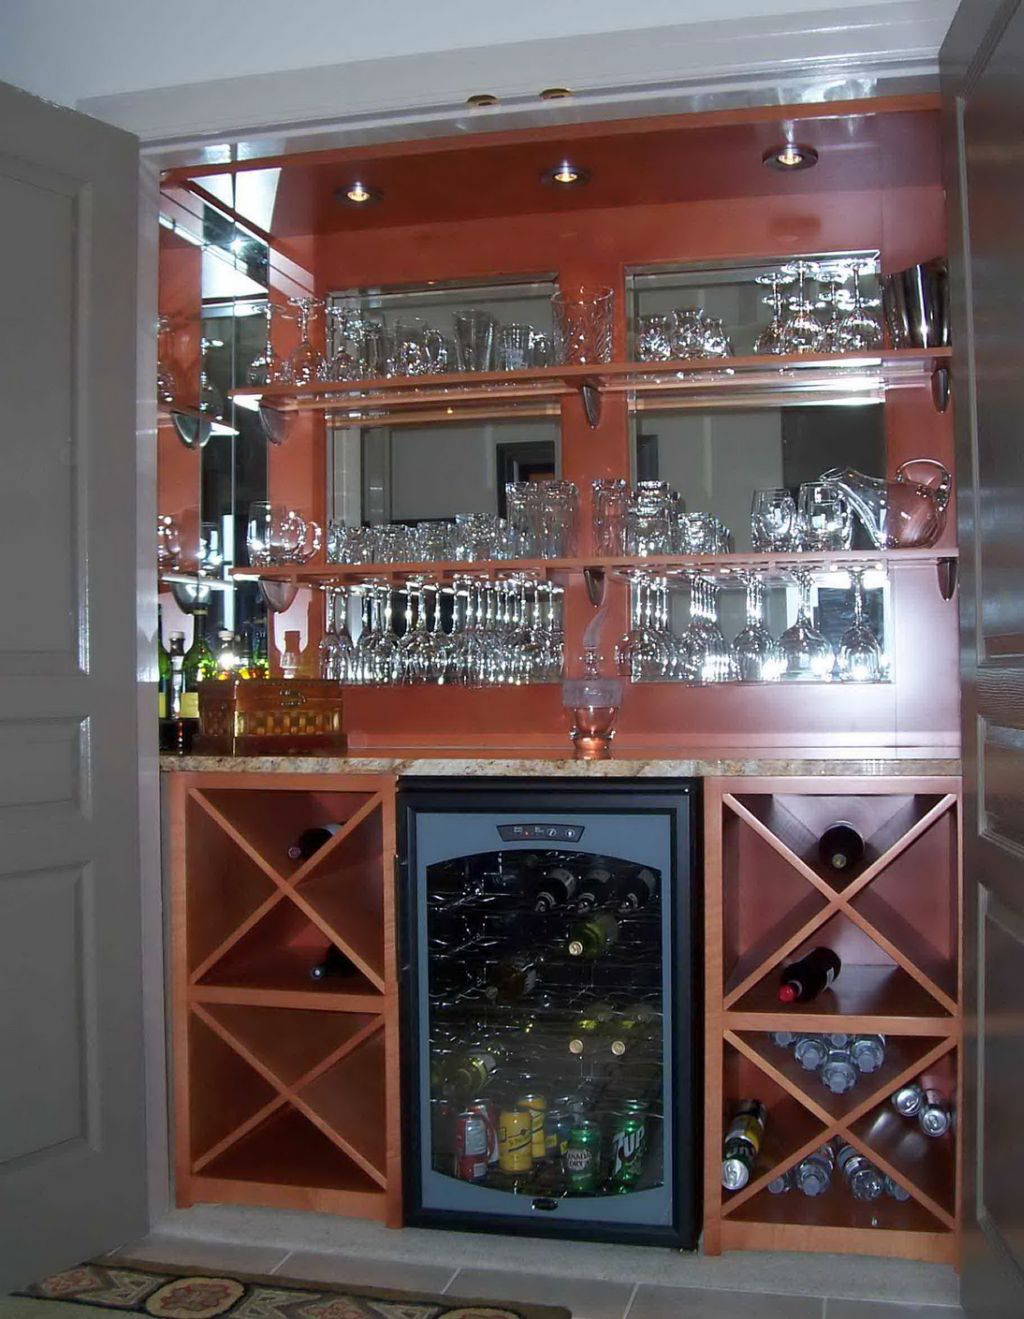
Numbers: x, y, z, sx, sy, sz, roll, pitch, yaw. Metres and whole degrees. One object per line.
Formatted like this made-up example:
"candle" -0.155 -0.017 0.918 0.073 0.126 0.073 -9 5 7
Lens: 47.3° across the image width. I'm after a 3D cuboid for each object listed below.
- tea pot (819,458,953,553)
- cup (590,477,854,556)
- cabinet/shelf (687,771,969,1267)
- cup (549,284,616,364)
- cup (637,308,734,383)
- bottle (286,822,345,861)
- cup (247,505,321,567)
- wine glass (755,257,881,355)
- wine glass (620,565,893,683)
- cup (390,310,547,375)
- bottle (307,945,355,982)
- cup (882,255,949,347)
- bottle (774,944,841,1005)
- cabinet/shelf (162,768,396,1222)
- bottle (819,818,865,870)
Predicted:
"tea pot" 0.868 -0.351 2.700 0.222 0.214 0.353 -1 0 -6
"cup" 0.505 -0.343 2.807 0.590 0.191 0.322 -1 0 22
"cabinet/shelf" 0.659 0.656 2.377 0.469 0.938 0.644 -1 0 18
"cup" 0.192 -0.791 2.733 0.156 0.179 0.168 -1 17 0
"cup" 0.400 -0.749 2.747 0.169 0.118 0.213 -2 -2 -3
"bottle" -0.428 0.396 2.524 0.065 0.074 0.070 19 15 8
"cup" -0.585 -0.322 3.016 0.187 0.166 0.116 1 4 -9
"wine glass" 0.717 -0.838 2.759 0.297 0.273 0.367 -1 0 16
"wine glass" 0.596 -0.074 2.923 0.653 0.285 0.131 -1 0 6
"cup" -0.103 -0.754 2.865 0.292 0.099 0.197 -1 8 3
"bottle" -0.381 0.652 2.501 0.072 0.034 0.073 4 17 -1
"cup" 0.877 -0.759 2.544 0.128 0.202 0.085 -1 0 16
"bottle" 0.577 0.623 2.292 0.082 0.083 0.255 -13 0 33
"cabinet/shelf" -0.410 0.677 2.542 0.515 0.898 0.414 -1 0 17
"bottle" 0.658 0.375 2.337 0.078 0.077 0.073 41 15 11
